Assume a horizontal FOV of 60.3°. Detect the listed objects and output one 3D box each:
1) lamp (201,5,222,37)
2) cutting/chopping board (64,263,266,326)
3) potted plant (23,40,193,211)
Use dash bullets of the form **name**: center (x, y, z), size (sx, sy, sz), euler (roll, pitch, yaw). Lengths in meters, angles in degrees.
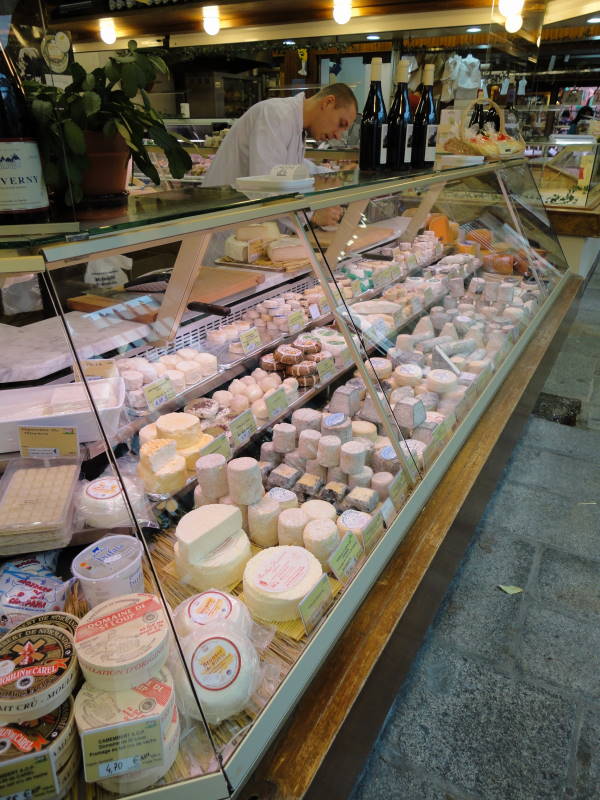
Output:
- **lamp**: center (-0.939, -4.058, 5.465), size (0.183, 0.215, 0.322), euler (-7, 28, -7)
- **cutting/chopping board**: center (-0.382, -0.367, 1.666), size (0.238, 0.044, 0.432), euler (15, 27, 30)
- **potted plant**: center (-0.255, -0.383, 0.759), size (0.232, 0.199, 0.298), euler (-1, 33, -10)
